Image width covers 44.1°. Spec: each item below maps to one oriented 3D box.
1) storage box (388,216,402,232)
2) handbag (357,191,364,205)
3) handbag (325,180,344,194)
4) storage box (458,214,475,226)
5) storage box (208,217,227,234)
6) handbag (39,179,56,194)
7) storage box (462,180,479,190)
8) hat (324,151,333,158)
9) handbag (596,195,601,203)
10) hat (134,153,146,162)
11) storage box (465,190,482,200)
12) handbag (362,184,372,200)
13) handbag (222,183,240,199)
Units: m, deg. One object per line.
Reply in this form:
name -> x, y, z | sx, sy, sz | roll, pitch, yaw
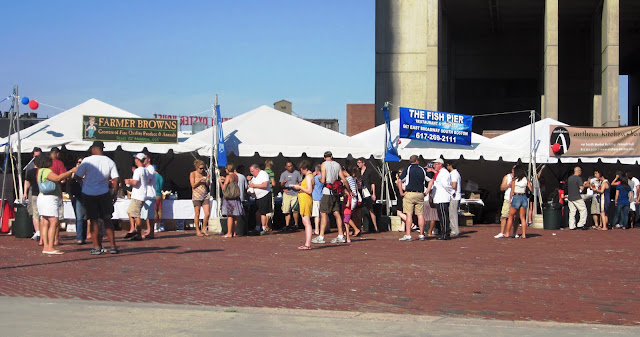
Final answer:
storage box -> 3.033, 2.237, 31.989 | 0.674, 0.400, 0.582 | 0, -3, -3
handbag -> 1.520, 1.176, 30.559 | 0.171, 0.421, 0.345 | 5, 4, -38
handbag -> 0.542, 0.687, 28.451 | 0.513, 0.237, 0.511 | -9, 13, -31
storage box -> 6.210, 2.176, 33.737 | 0.672, 0.350, 0.618 | 0, -5, 4
storage box -> -3.946, 2.242, 31.094 | 0.675, 0.583, 0.666 | -4, -7, 25
handbag -> -9.176, 0.584, 26.647 | 0.536, 0.488, 0.259 | -1, -9, -4
storage box -> 6.430, 0.774, 34.050 | 0.664, 0.376, 0.776 | 3, 14, 6
hat -> 0.366, -0.504, 28.906 | 0.343, 0.213, 0.511 | 5, 2, 6
handbag -> 11.588, 1.224, 32.974 | 0.057, 0.195, 0.228 | 6, -12, -37
hat -> -6.657, -0.441, 29.411 | 0.399, 0.257, 0.207 | 25, -35, -11
storage box -> 6.488, 1.135, 33.694 | 0.541, 0.296, 0.536 | -1, 0, 26
handbag -> 1.766, 0.962, 30.872 | 0.350, 0.418, 0.162 | -23, 7, -27
handbag -> -3.342, 0.843, 29.856 | 0.672, 0.583, 0.312 | 2, 4, 2
